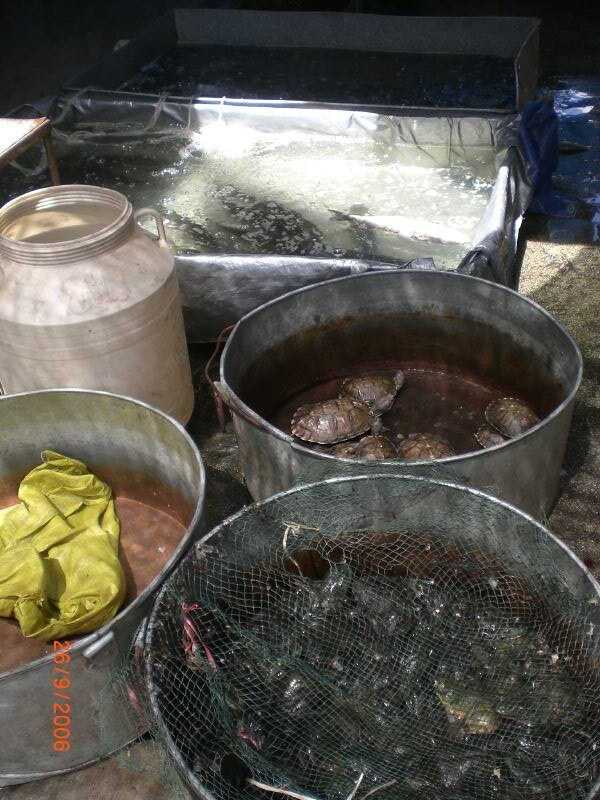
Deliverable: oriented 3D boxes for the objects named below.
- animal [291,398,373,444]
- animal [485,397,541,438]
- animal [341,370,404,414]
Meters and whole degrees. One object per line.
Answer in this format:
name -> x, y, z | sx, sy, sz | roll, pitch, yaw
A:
animal -> 0.099, 0.072, 2.384 | 0.211, 0.064, 0.155 | -27, 41, -21
animal -> 0.645, 0.044, 2.293 | 0.137, 0.045, 0.150 | -6, 36, 0
animal -> 0.253, -0.020, 2.497 | 0.201, 0.057, 0.126 | -9, 38, 2
